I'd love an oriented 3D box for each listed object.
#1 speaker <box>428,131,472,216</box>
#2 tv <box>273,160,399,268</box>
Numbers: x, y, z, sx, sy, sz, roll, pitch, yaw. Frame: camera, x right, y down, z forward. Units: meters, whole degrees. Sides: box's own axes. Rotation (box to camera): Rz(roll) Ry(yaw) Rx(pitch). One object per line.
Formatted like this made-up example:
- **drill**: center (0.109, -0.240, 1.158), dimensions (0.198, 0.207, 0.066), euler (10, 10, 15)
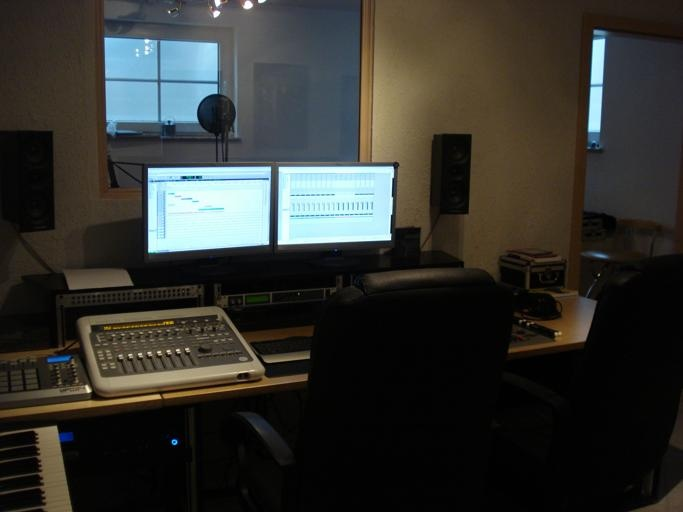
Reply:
- **speaker**: center (0.600, -0.449, 3.273), dimensions (0.218, 0.426, 0.139), euler (2, 12, 8)
- **tv**: center (-0.041, -0.216, 2.970), dimensions (0.500, 0.370, 0.067), euler (-3, 12, -16)
